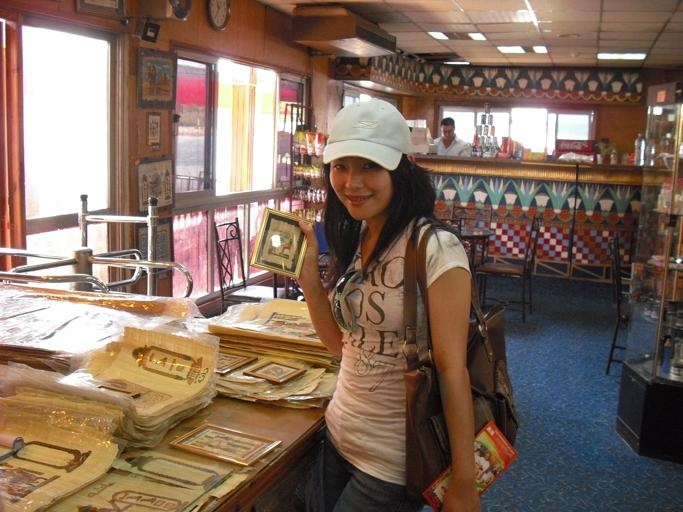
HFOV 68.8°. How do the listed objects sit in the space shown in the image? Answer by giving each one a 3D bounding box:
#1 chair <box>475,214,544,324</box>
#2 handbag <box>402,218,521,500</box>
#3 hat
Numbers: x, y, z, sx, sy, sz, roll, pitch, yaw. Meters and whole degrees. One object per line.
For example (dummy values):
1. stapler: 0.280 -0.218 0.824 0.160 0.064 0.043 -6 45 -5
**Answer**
1. chair: 2.069 0.153 6.255 0.716 1.257 0.679 0 6 23
2. handbag: 0.327 0.255 1.262 0.400 0.653 0.234 -3 12 -26
3. hat: 0.087 -0.326 1.312 0.156 0.126 0.221 5 18 17
